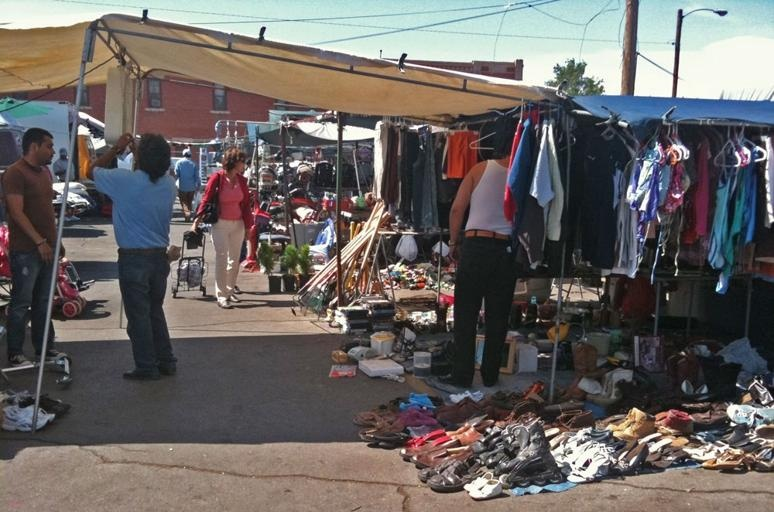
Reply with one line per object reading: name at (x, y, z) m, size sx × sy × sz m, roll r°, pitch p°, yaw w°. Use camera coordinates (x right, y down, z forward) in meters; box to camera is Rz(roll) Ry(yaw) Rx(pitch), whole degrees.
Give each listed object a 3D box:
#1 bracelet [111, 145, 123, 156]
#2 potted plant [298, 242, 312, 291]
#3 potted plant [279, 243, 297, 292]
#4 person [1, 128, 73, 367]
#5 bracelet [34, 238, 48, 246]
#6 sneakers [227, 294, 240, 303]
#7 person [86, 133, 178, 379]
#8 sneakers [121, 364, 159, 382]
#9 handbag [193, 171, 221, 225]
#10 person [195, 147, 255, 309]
bracelet at (-2.891, -1.125, 8.276) m, size 0.099 × 0.065 × 0.105 m, roll 28°, pitch 2°, yaw 24°
potted plant at (-1.413, 0.149, 13.396) m, size 0.213 × 0.742 × 0.455 m, roll -1°, pitch 12°, yaw -7°
potted plant at (-1.673, 0.212, 13.274) m, size 0.260 × 0.771 × 0.433 m, roll -1°, pitch 12°, yaw -7°
person at (-3.977, -0.100, 8.638) m, size 0.620 × 2.586 × 0.624 m, roll -4°, pitch 13°, yaw -22°
bracelet at (-3.761, -0.149, 8.455) m, size 0.119 × 0.063 × 0.096 m, roll -7°, pitch 13°, yaw -36°
sneakers at (-2.437, 0.702, 12.288) m, size 0.232 × 0.152 × 0.075 m, roll -22°, pitch -46°, yaw 17°
person at (-2.729, 0.016, 8.575) m, size 0.846 × 2.704 × 0.493 m, roll -4°, pitch 13°, yaw -20°
sneakers at (-2.733, 1.303, 8.645) m, size 0.401 × 0.160 × 0.147 m, roll 3°, pitch 1°, yaw -4°
handbag at (-2.593, -0.840, 11.338) m, size 0.356 × 0.733 × 0.397 m, roll -2°, pitch 12°, yaw -13°
person at (-2.433, -0.383, 11.553) m, size 0.828 × 2.389 × 0.371 m, roll -7°, pitch 14°, yaw -32°
